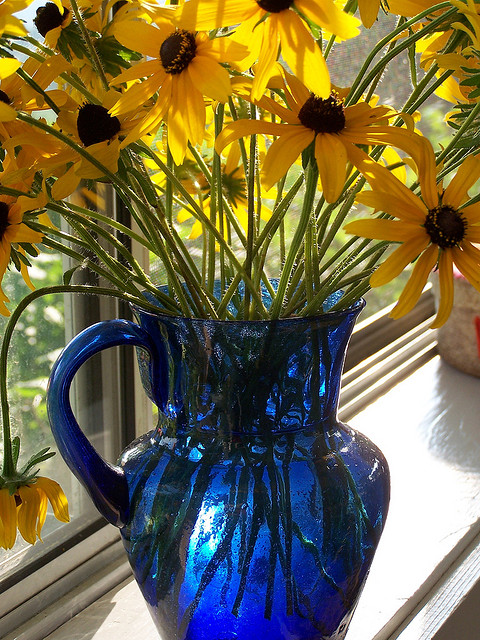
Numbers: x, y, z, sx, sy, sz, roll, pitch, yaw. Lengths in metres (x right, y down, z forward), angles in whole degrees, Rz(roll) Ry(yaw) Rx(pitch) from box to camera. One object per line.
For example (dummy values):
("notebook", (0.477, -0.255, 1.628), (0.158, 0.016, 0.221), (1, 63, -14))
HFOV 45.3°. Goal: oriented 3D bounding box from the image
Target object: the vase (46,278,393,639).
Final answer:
("vase", (0.001, 0.093, 0.520), (0.272, 0.233, 0.319), (-4, -77, -11))
